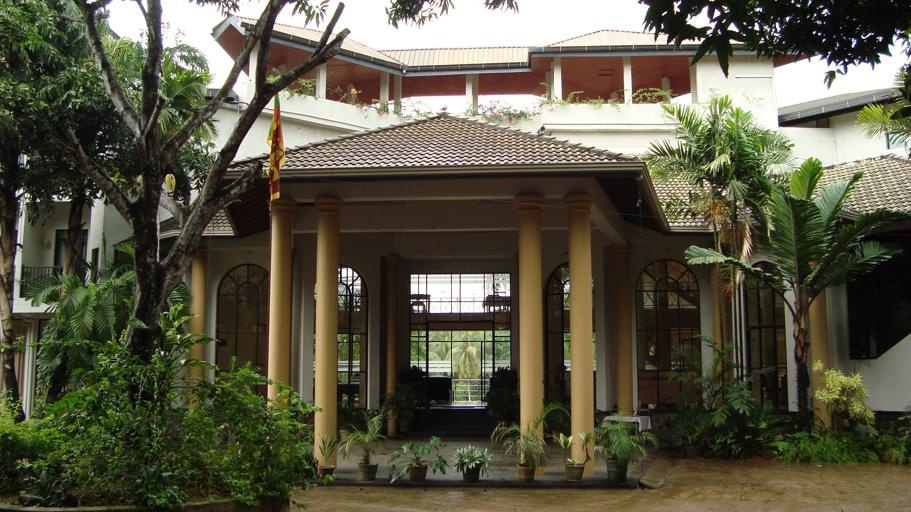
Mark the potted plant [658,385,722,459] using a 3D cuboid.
[{"bbox_3d":[7.057,4.889,21.051,2.176,2.214,1.784,6,-8,-11],"label":"potted plant"}]
